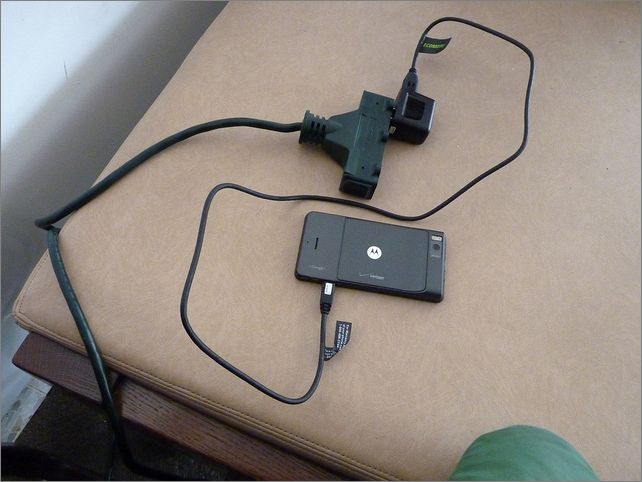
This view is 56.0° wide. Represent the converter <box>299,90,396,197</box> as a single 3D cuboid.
[{"bbox_3d":[0.041,-0.184,1.071,0.153,0.170,0.063,16,5,7],"label":"converter"}]
